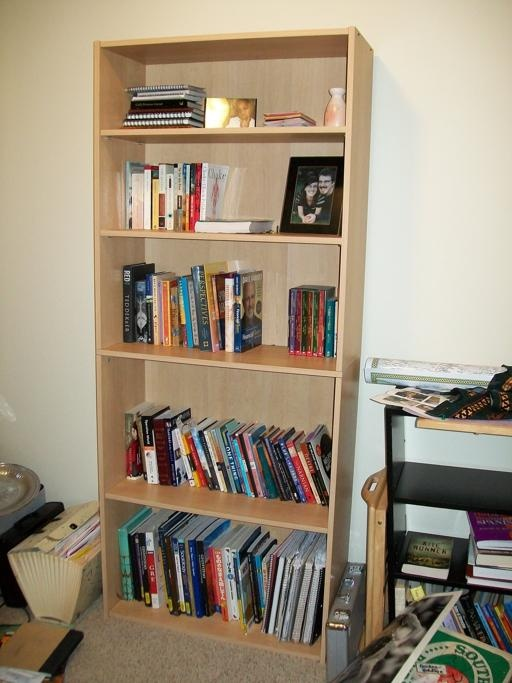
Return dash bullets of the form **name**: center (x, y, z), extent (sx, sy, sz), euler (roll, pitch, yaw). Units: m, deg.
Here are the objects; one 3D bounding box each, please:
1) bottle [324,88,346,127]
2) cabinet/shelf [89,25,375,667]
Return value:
- **bottle**: center (0.220, -0.651, 1.544), extent (0.054, 0.111, 0.090), euler (2, 11, 7)
- **cabinet/shelf**: center (-0.090, 0.025, 1.873), extent (0.838, 1.903, 0.432), euler (5, 11, 18)
